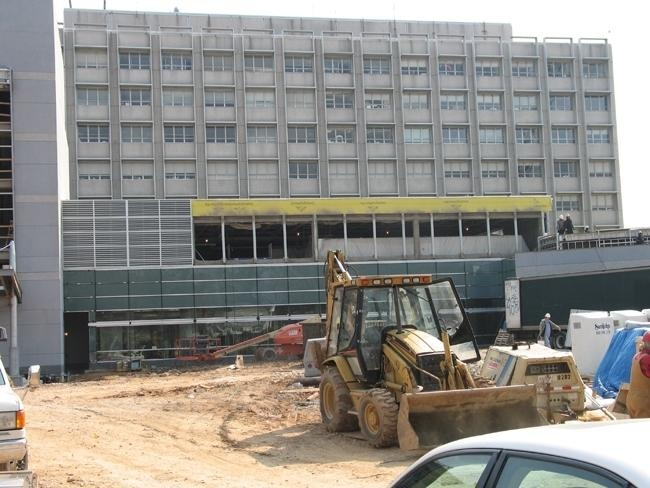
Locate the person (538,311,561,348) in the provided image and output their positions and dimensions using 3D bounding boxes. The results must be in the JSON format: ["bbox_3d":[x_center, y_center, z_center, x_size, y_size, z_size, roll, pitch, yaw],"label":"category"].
[{"bbox_3d":[11.209,4.280,43.989,0.660,1.004,1.974,5,-15,20],"label":"person"}]

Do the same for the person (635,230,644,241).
[{"bbox_3d":[20.281,-0.460,57.009,0.362,0.765,0.678,-5,-4,40],"label":"person"}]

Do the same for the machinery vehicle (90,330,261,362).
[{"bbox_3d":[-9.620,6.494,55.237,7.223,1.247,3.666,0,-4,-11],"label":"machinery vehicle"}]

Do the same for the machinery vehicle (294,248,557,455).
[{"bbox_3d":[2.422,3.552,30.415,4.875,5.963,9.208,-2,-2,-27],"label":"machinery vehicle"}]

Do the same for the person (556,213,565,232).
[{"bbox_3d":[15.791,-1.249,59.270,0.497,1.208,1.820,-3,-3,15],"label":"person"}]
